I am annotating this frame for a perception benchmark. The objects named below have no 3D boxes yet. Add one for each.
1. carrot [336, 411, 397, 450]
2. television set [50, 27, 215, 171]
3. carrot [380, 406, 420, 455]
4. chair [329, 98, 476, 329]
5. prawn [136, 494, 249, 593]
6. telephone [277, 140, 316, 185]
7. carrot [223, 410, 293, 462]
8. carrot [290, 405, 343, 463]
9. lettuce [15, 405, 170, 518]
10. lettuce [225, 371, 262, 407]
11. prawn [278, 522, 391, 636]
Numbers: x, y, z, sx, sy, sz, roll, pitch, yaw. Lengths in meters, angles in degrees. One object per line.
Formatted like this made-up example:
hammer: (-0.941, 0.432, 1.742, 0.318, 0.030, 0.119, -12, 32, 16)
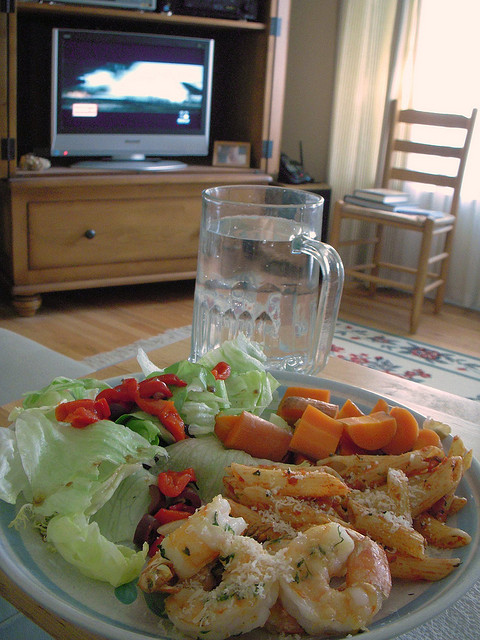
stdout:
carrot: (0.122, 0.101, 0.515, 0.051, 0.029, 0.072, -1, 6, -22)
television set: (-0.497, -1.003, 2.392, 0.814, 0.542, 0.246, -4, 29, -23)
carrot: (0.155, 0.108, 0.522, 0.040, 0.043, 0.009, 19, 2, -9)
chair: (0.859, -0.633, 2.947, 0.700, 1.111, 0.879, 14, 22, 25)
prawn: (-0.028, 0.144, 0.355, 0.068, 0.024, 0.042, -29, 40, -23)
telephone: (0.342, -0.904, 3.044, 0.182, 0.232, 0.488, 8, 19, 12)
carrot: (0.021, 0.113, 0.545, 0.063, 0.043, 0.079, -10, 16, -41)
carrot: (0.072, 0.108, 0.495, 0.049, 0.045, 0.049, 21, 11, -4)
lettuce: (-0.131, 0.100, 0.427, 0.083, 0.029, 0.081, -10, 25, -28)
lettuce: (0.007, 0.077, 0.604, 0.035, 0.037, 0.041, 5, -13, -24)
prawn: (0.059, 0.160, 0.326, 0.067, 0.046, 0.060, 7, 19, 8)
